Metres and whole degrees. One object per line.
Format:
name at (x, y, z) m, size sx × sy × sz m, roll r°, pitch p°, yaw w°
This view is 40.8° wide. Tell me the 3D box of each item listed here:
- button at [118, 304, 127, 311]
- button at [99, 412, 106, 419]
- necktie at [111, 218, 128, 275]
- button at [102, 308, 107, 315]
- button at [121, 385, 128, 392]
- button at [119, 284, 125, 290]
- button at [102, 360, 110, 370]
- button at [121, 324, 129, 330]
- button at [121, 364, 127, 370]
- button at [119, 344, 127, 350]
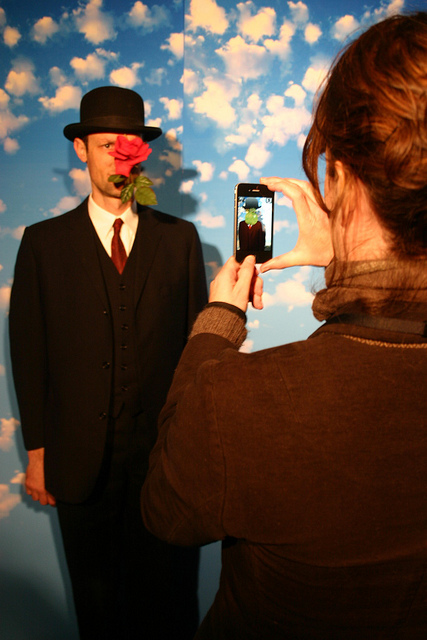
button at (-0.248, -0.034, 1.547) m, size 0.019 × 0.017 × 0.004 m, roll 12°, pitch -4°, yaw -6°
button at (-0.292, 0.249, 1.503) m, size 0.016 × 0.014 × 0.004 m, roll -2°, pitch -10°, yaw -3°
necktie at (-0.265, -0.201, 1.591) m, size 0.048 × 0.162 × 0.009 m, roll -1°, pitch -18°, yaw -11°
button at (-0.291, -0.023, 1.525) m, size 0.013 × 0.014 × 0.006 m, roll 2°, pitch 16°, yaw 5°
button at (-0.239, 0.183, 1.534) m, size 0.013 × 0.016 × 0.006 m, roll 9°, pitch -2°, yaw 7°
button at (-0.250, -0.090, 1.549) m, size 0.017 × 0.015 × 0.004 m, roll 7°, pitch -4°, yaw -8°
button at (-0.285, 0.117, 1.511) m, size 0.018 × 0.022 × 0.012 m, roll -1°, pitch 16°, yaw -6°
button at (-0.239, 0.018, 1.549) m, size 0.018 × 0.014 × 0.006 m, roll -6°, pitch 18°, yaw -21°
button at (-0.241, 0.124, 1.534) m, size 0.014 × 0.012 × 0.023 m, roll 11°, pitch -39°, yaw 1°
button at (-0.246, 0.071, 1.540) m, size 0.017 × 0.015 × 0.004 m, roll 1°, pitch -9°, yaw -9°
